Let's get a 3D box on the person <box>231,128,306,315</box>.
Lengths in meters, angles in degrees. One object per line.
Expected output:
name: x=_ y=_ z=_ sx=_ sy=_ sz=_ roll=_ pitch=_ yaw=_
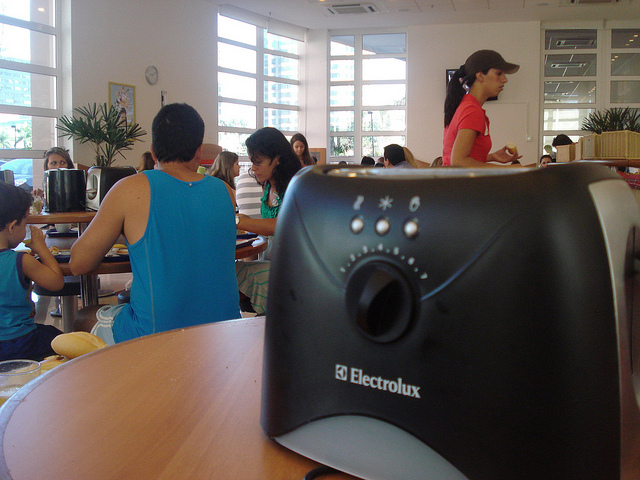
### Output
person: x=-0.217 y=-0.034 z=2.203 sx=0.355 sy=0.933 sz=0.434 roll=4 pitch=6 yaw=43

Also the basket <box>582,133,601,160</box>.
basket: x=1.256 y=-0.436 z=2.220 sx=0.068 sy=0.098 sz=0.255 roll=2 pitch=11 yaw=25

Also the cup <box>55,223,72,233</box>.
cup: x=-1.309 y=-0.072 z=2.480 sx=0.049 sy=0.048 sz=0.052 roll=1 pitch=3 yaw=0

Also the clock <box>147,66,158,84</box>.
clock: x=-2.684 y=-2.658 z=7.720 sx=0.023 sy=0.284 sz=0.244 roll=-2 pitch=8 yaw=24
